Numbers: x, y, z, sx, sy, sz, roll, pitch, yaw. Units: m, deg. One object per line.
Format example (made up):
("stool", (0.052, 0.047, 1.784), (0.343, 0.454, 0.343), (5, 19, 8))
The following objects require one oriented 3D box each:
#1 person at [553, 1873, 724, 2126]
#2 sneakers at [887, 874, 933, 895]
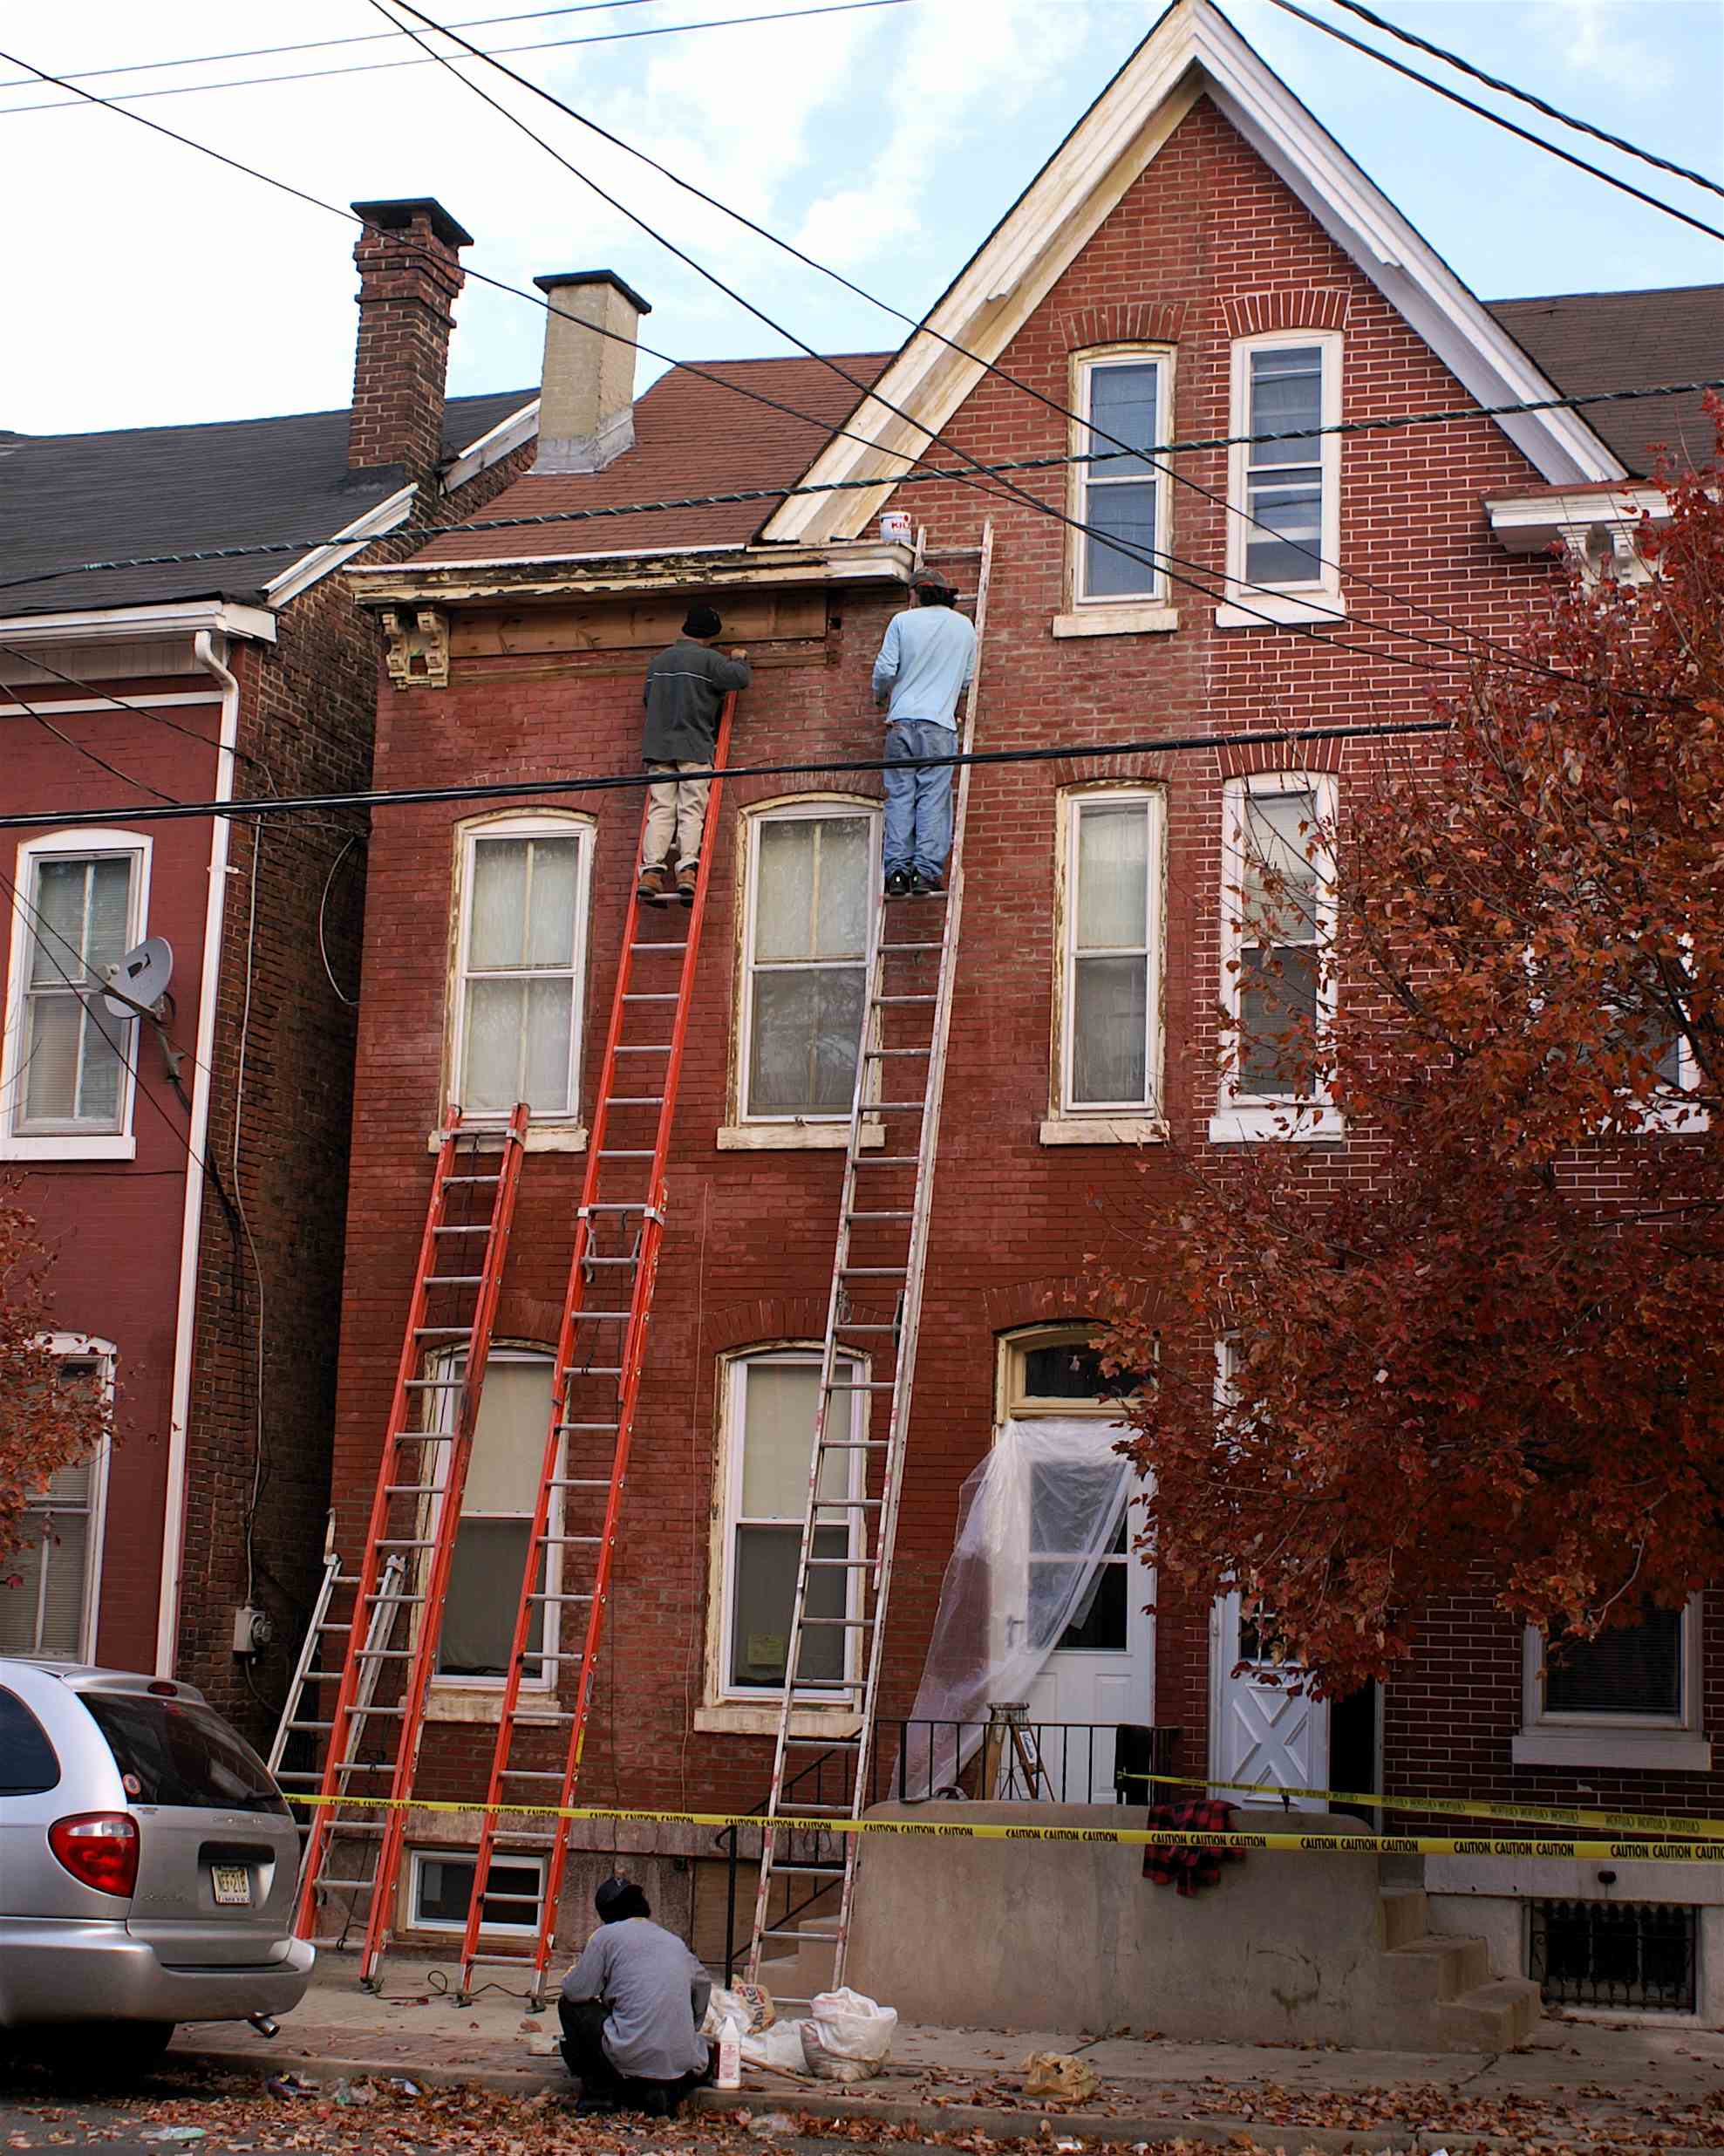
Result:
("person", (-0.949, 3.869, 19.460), (0.639, 0.939, 0.457), (4, -13, -2))
("sneakers", (0.209, -0.981, 24.446), (0.263, 0.109, 0.089), (-2, 1, 2))
